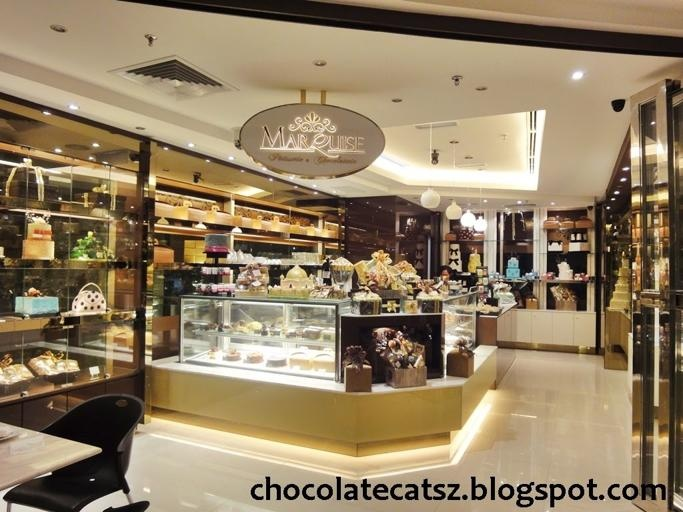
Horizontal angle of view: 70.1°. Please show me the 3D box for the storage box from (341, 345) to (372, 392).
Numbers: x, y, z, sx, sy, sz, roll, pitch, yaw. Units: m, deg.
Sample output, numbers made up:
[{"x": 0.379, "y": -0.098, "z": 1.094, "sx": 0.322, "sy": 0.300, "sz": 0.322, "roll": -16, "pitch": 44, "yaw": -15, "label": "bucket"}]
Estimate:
[{"x": 0.155, "y": 1.134, "z": 4.979, "sx": 0.414, "sy": 0.503, "sz": 0.371, "roll": 2, "pitch": -5, "yaw": -11, "label": "storage box"}]

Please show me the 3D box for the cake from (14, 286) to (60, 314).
[{"x": -2.890, "y": 0.411, "z": 4.604, "sx": 0.259, "sy": 0.252, "sz": 0.277, "roll": 1, "pitch": -2, "yaw": 30, "label": "cake"}]

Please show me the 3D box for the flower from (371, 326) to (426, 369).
[{"x": 0.579, "y": 0.931, "z": 4.945, "sx": 0.509, "sy": 0.349, "sz": 0.308, "roll": 1, "pitch": 2, "yaw": 2, "label": "flower"}]

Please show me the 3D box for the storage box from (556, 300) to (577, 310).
[{"x": 4.703, "y": 0.954, "z": 10.137, "sx": 0.377, "sy": 0.161, "sz": 0.187, "roll": 1, "pitch": 0, "yaw": 12, "label": "storage box"}]

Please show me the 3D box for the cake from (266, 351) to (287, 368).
[{"x": -0.706, "y": 1.129, "z": 5.282, "sx": 0.224, "sy": 0.149, "sz": 0.120, "roll": 2, "pitch": 3, "yaw": 24, "label": "cake"}]

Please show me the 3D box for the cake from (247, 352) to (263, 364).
[{"x": -0.966, "y": 1.129, "z": 5.380, "sx": 0.130, "sy": 0.053, "sz": 0.138, "roll": 7, "pitch": 9, "yaw": 31, "label": "cake"}]

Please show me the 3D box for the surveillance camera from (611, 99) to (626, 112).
[{"x": 2.687, "y": -1.448, "z": 4.706, "sx": 0.105, "sy": 0.078, "sz": 0.107, "roll": 2, "pitch": -5, "yaw": 8, "label": "surveillance camera"}]

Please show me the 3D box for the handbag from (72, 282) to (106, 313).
[{"x": -2.635, "y": 0.436, "z": 5.009, "sx": 0.197, "sy": 0.275, "sz": 0.339, "roll": 2, "pitch": 0, "yaw": 32, "label": "handbag"}]

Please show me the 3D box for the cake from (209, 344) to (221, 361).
[{"x": -1.456, "y": 1.107, "z": 5.575, "sx": 0.040, "sy": 0.121, "sz": 0.139, "roll": 6, "pitch": -5, "yaw": -40, "label": "cake"}]

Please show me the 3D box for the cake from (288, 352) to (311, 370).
[{"x": -0.444, "y": 1.111, "z": 5.141, "sx": 0.197, "sy": 0.132, "sz": 0.189, "roll": 2, "pitch": 4, "yaw": 16, "label": "cake"}]

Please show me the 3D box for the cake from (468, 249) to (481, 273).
[{"x": 3.065, "y": 0.111, "z": 11.227, "sx": 0.301, "sy": 0.521, "sz": 0.235, "roll": 2, "pitch": 3, "yaw": 30, "label": "cake"}]

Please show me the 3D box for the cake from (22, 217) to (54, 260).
[{"x": -2.861, "y": -0.168, "z": 4.636, "sx": 0.167, "sy": 0.426, "sz": 0.299, "roll": 2, "pitch": 3, "yaw": 16, "label": "cake"}]

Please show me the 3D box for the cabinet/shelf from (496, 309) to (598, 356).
[{"x": 4.320, "y": 1.547, "z": 10.099, "sx": 1.721, "sy": 0.863, "sz": 0.396, "roll": 1, "pitch": 2, "yaw": 12, "label": "cabinet/shelf"}]

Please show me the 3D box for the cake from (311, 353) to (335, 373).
[{"x": -0.176, "y": 1.107, "z": 5.098, "sx": 0.216, "sy": 0.125, "sz": 0.199, "roll": 1, "pitch": 1, "yaw": 13, "label": "cake"}]
